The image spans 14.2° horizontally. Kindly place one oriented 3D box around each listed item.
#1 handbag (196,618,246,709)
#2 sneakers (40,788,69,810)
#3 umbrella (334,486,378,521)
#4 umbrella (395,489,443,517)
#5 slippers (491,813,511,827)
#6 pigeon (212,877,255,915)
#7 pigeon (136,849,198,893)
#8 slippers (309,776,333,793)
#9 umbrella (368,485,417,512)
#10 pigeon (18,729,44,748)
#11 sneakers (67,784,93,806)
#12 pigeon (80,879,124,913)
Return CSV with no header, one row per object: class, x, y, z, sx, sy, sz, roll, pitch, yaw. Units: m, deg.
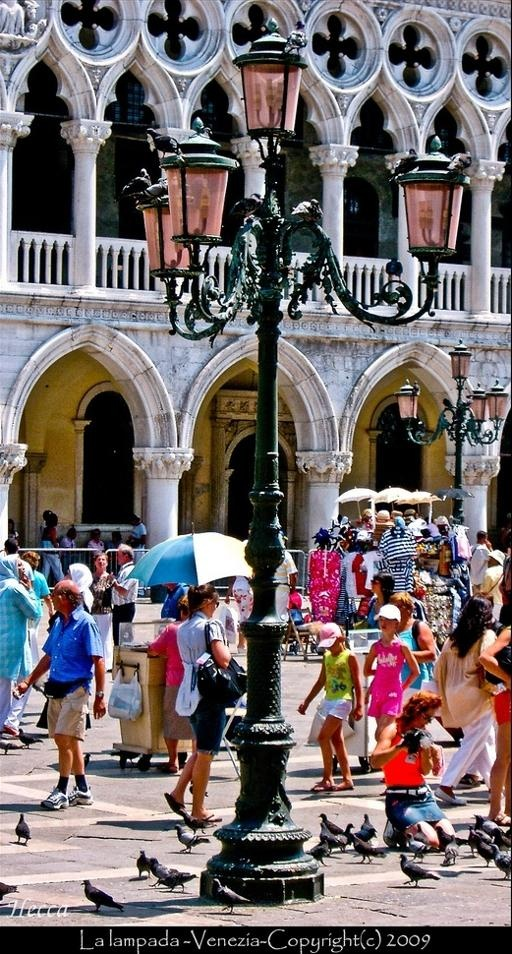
handbag,-0.179,1.016,11.155,0.185,0.450,0.392,-22,-8,34
sneakers,-1.138,1.818,11.721,0.155,0.117,0.163,2,-3,-9
umbrella,1.261,0.374,25.330,0.388,0.455,0.421,2,6,25
umbrella,1.964,0.264,25.118,0.545,0.575,0.590,1,1,15
slippers,1.302,1.794,10.887,0.040,0.054,0.132,0,3,-10
pigeon,-0.121,1.795,8.809,0.209,0.165,0.084,-1,-5,28
pigeon,-0.429,1.746,9.135,0.304,0.256,0.137,-4,-11,15
slippers,0.397,1.853,12.448,0.138,0.140,0.061,2,-8,9
umbrella,1.664,0.378,25.084,0.389,0.485,0.419,-6,7,-19
pigeon,-1.577,1.839,14.534,0.075,0.165,0.235,-5,-10,37
sneakers,-1.009,1.830,11.882,0.142,0.104,0.165,2,-3,-7
pigeon,-0.668,1.764,8.709,0.225,0.175,0.081,1,-6,30
